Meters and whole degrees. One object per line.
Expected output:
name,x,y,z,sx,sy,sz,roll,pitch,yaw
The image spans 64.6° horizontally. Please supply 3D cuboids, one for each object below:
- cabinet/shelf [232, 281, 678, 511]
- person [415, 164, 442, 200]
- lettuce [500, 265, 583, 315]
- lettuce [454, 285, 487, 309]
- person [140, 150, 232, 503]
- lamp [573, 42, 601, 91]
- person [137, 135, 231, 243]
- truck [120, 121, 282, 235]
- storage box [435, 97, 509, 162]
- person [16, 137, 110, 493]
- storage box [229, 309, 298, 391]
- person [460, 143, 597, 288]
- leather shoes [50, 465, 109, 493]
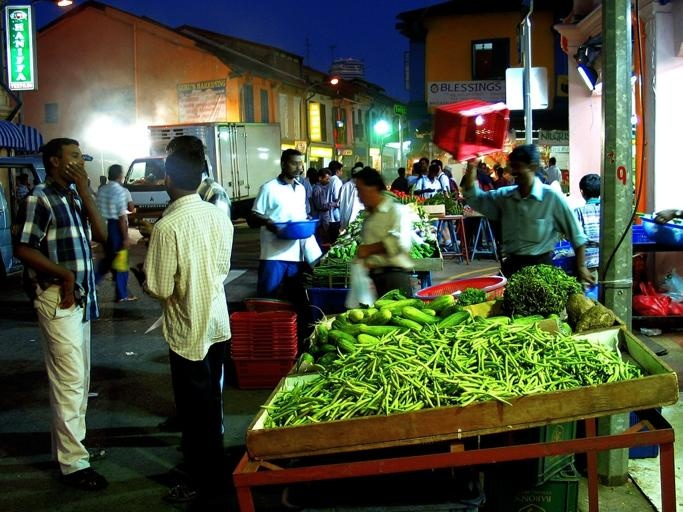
cabinet/shelf,0.615,0.871,3.037,1.649,0.661,1.072,-9,12,1
person,2.459,-2.165,15.394,0.759,0.894,1.136,1,11,20
lettuce,1.471,0.223,4.019,0.387,0.298,0.455,-11,20,16
lettuce,1.146,0.358,4.762,0.198,0.105,0.197,-7,0,-2
person,-1.045,0.511,3.810,0.610,2.533,0.348,-5,10,-14
lamp,4.903,-3.714,10.734,0.459,0.825,0.882,2,11,23
person,-1.340,-0.600,5.064,0.816,0.783,1.419,-1,1,4
truck,-5.803,-3.114,21.476,4.237,4.427,8.773,1,6,21
storage box,1.575,-1.479,6.358,0.902,0.619,0.847,-11,11,-30
person,-2.164,0.451,4.212,0.527,2.672,0.572,-3,10,-3
storage box,-0.861,0.992,6.090,0.651,0.594,0.899,0,-2,0
person,1.782,-0.420,5.206,1.253,1.273,0.522,2,11,24
leather shoes,-2.071,1.742,4.262,0.414,0.166,0.160,1,2,2
